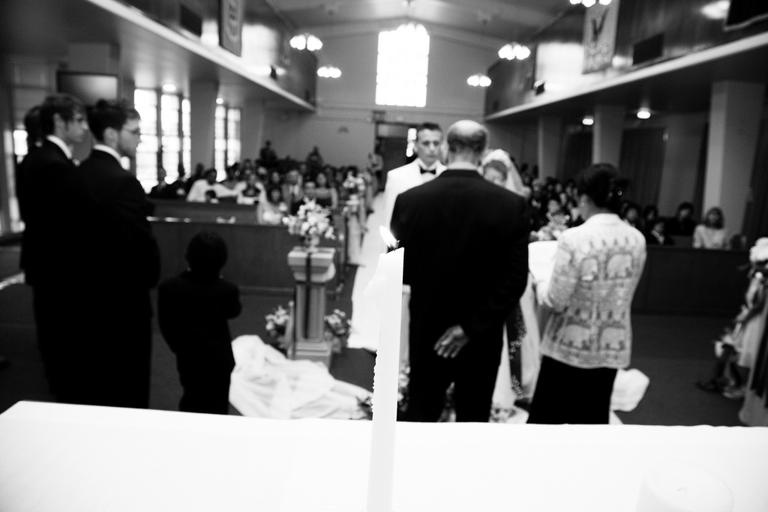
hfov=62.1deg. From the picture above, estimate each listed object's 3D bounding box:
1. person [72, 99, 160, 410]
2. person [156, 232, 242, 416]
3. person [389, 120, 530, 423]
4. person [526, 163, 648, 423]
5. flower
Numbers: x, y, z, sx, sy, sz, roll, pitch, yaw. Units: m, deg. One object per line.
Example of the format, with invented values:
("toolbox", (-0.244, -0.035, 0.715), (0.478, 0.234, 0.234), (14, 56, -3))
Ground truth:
("person", (-1.530, -0.004, 3.660), (0.450, 1.751, 0.135), (4, 6, 3))
("person", (-1.097, 0.418, 3.791), (0.484, 1.116, 0.382), (1, 7, -18))
("person", (0.384, 0.108, 3.359), (0.715, 1.635, 0.219), (5, 6, 14))
("person", (1.062, 0.227, 3.313), (0.514, 1.408, 0.219), (4, 6, 6))
("flower", (-0.613, 0.575, 5.188), (0.424, 0.339, 0.615), (1, -4, 12))
